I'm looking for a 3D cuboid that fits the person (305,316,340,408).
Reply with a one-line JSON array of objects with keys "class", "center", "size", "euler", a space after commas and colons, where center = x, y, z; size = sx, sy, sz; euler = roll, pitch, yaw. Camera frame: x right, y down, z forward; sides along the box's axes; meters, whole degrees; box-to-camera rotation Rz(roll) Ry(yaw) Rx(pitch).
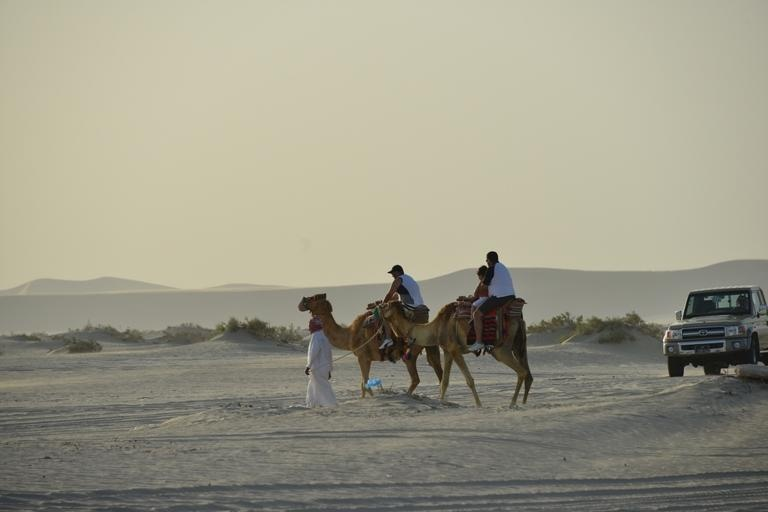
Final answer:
[{"class": "person", "center": [-1.338, 2.337, 19.023], "size": [0.910, 1.740, 0.753], "euler": [0, -1, 32]}]
